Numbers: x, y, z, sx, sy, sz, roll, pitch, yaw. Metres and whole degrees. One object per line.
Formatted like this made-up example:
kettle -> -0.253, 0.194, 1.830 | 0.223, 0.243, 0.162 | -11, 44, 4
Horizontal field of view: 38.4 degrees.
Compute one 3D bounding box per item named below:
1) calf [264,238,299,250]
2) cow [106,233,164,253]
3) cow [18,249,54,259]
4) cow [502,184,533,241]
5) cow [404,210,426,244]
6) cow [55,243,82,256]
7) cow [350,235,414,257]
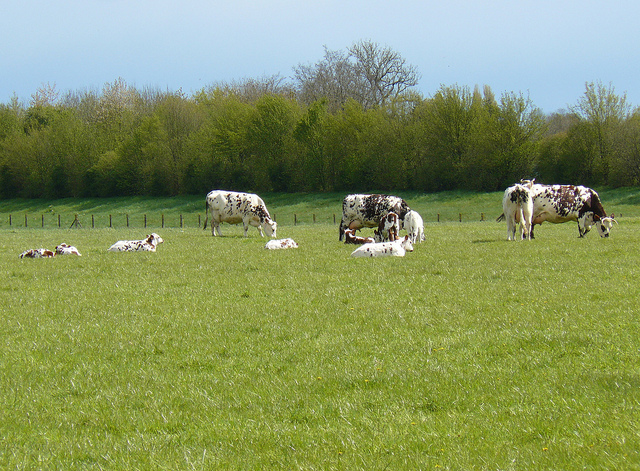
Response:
calf -> -1.562, 0.321, 37.700 | 1.374, 0.316, 0.802 | -4, 8, -20
cow -> -7.494, 0.302, 37.904 | 2.896, 0.556, 1.518 | -9, 11, -44
cow -> -10.902, 0.668, 35.473 | 1.322, 0.250, 0.793 | -2, 8, -6
cow -> 8.267, -1.016, 38.157 | 1.086, 2.313, 1.354 | 0, 7, 11
cow -> 3.983, -0.410, 38.396 | 0.797, 1.271, 1.807 | -1, 8, 5
cow -> -9.901, 0.544, 36.238 | 1.000, 0.414, 0.766 | -2, 8, -4
cow -> 2.475, 0.446, 34.161 | 2.575, 0.532, 1.078 | -6, 9, -30
